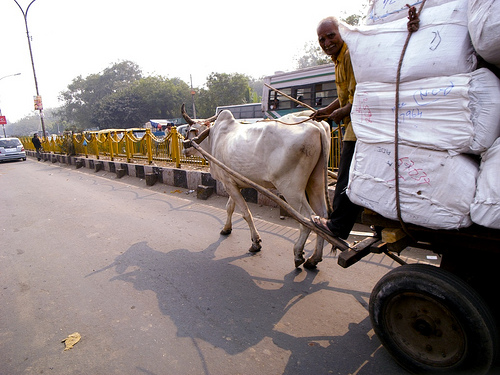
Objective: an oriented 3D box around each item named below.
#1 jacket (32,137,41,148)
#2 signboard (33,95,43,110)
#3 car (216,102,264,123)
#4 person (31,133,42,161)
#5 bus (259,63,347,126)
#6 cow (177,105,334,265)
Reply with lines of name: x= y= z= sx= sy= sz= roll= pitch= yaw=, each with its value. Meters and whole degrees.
jacket: x=-12.733 y=-2.616 z=21.095 sx=0.836 sy=0.582 sz=0.247 roll=8 pitch=15 yaw=41
signboard: x=-12.719 y=-5.019 z=21.234 sx=0.366 sy=0.824 sz=0.635 roll=-8 pitch=13 yaw=-28
car: x=-0.269 y=-4.214 z=19.856 sx=1.252 sy=0.852 sz=3.451 roll=-4 pitch=11 yaw=-13
person: x=-12.660 y=-2.408 z=21.093 sx=0.361 sy=1.549 sz=1.543 roll=-9 pitch=13 yaw=-31
bus: x=1.548 y=-3.166 z=13.452 sx=1.514 sy=2.304 sz=4.529 roll=1 pitch=16 yaw=42
cow: x=-0.096 y=-0.052 z=5.284 sx=2.849 sy=2.099 sz=0.762 roll=9 pitch=18 yaw=41
